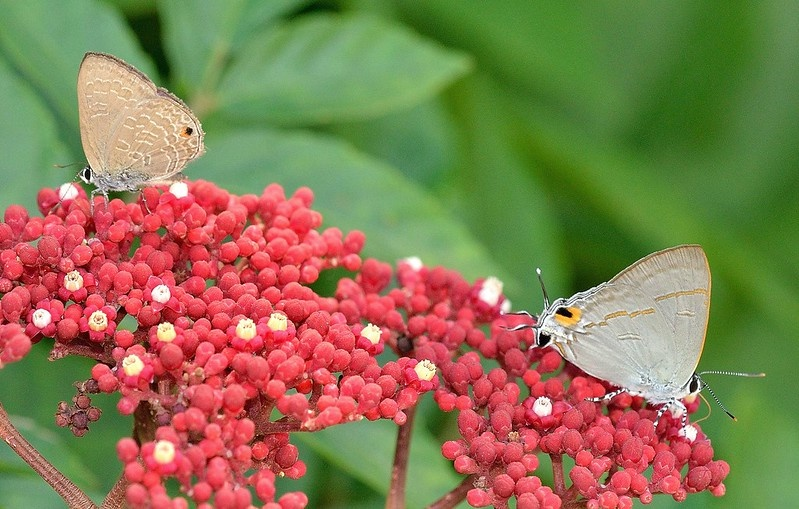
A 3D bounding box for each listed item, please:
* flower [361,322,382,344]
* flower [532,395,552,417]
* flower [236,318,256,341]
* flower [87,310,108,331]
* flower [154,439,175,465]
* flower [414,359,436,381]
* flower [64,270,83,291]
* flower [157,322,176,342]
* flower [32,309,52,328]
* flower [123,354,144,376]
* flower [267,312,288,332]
[{"bbox_3d":[-0.076,0.223,2.040,0.049,0.051,0.051,-11,-31,-21],"label":"flower"},{"bbox_3d":[0.398,0.425,2.035,0.047,0.061,0.050,1,13,4],"label":"flower"},{"bbox_3d":[-0.402,0.201,1.937,0.055,0.055,0.025,2,-5,-13],"label":"flower"},{"bbox_3d":[-0.791,0.179,1.933,0.048,0.053,0.022,4,-6,-28],"label":"flower"},{"bbox_3d":[-0.570,0.484,1.829,0.051,0.051,0.050,-42,-7,-13],"label":"flower"},{"bbox_3d":[0.074,0.325,2.044,0.078,0.056,0.046,3,-6,-18],"label":"flower"},{"bbox_3d":[-0.869,0.077,1.966,0.047,0.053,0.025,3,-5,-21],"label":"flower"},{"bbox_3d":[-0.605,0.207,1.913,0.043,0.046,0.033,-4,-49,-3],"label":"flower"},{"bbox_3d":[-0.933,0.171,1.916,0.044,0.048,0.024,2,-6,-11],"label":"flower"},{"bbox_3d":[-0.682,0.287,1.887,0.055,0.053,0.014,2,-5,-6],"label":"flower"},{"bbox_3d":[-0.326,0.184,1.964,0.048,0.050,0.026,2,-5,-13],"label":"flower"}]
